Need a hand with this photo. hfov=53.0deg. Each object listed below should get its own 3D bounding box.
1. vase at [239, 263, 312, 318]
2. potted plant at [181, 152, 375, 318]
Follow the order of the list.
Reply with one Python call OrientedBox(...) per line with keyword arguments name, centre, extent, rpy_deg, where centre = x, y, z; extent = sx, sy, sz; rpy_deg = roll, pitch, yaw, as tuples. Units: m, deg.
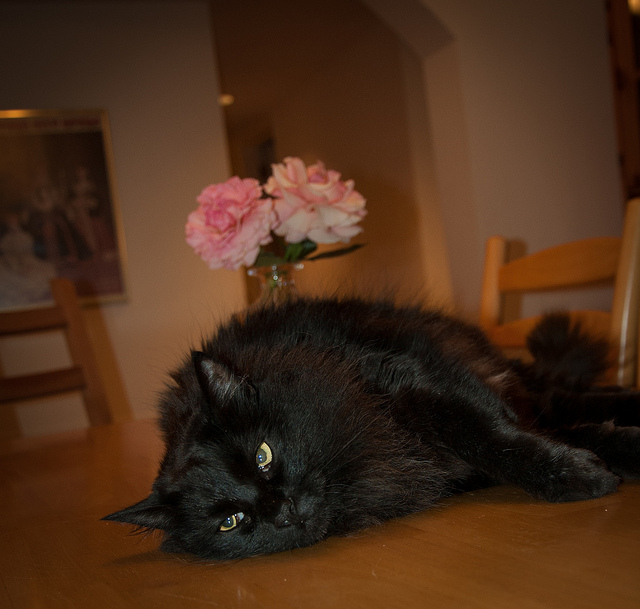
OrientedBox(name="vase", centre=(-0.107, -0.064, 1.517), extent=(0.136, 0.060, 0.156), rpy_deg=(-7, 26, 6))
OrientedBox(name="potted plant", centre=(-0.128, -0.166, 1.586), extent=(0.368, 0.393, 0.324), rpy_deg=(-9, 31, 1))
